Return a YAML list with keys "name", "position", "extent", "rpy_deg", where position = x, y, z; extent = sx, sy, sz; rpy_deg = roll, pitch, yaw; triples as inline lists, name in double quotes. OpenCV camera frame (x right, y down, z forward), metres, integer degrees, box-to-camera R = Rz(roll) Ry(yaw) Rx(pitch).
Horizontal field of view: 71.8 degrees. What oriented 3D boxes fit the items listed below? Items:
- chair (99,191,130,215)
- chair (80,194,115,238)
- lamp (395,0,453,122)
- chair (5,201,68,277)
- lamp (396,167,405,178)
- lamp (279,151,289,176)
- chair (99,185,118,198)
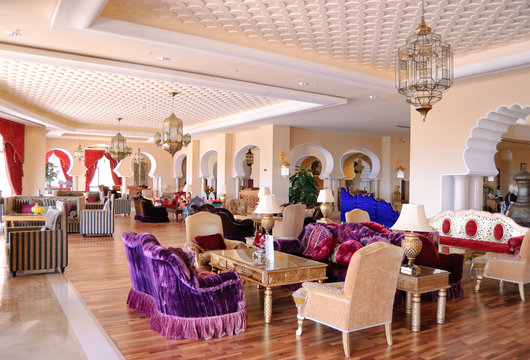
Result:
- name: "chair"
  position: [-6.801, 1.193, 16.881]
  extent: [1.201, 1.305, 1.658]
  rpy_deg: [-1, 2, -27]
- name: "chair"
  position: [-5.549, 1.273, 12.132]
  extent: [1.198, 1.424, 1.045]
  rpy_deg: [2, -4, -13]
- name: "lamp"
  position: [2.783, -2.045, 6.414]
  extent: [0.900, 1.999, 1.686]
  rpy_deg: [5, 11, 24]
- name: "chair"
  position: [-4.822, 1.535, 8.157]
  extent: [1.384, 1.706, 1.281]
  rpy_deg: [3, -5, -31]
- name: "lamp"
  position: [6.501, -0.309, 17.803]
  extent: [0.498, 0.601, 0.481]
  rpy_deg: [-1, -1, -5]
- name: "lamp"
  position: [0.771, -0.590, 14.954]
  extent: [0.357, 1.014, 0.373]
  rpy_deg: [3, 10, 11]
- name: "chair"
  position: [-7.560, 0.601, 17.637]
  extent: [0.791, 0.822, 0.591]
  rpy_deg: [0, 2, -17]
